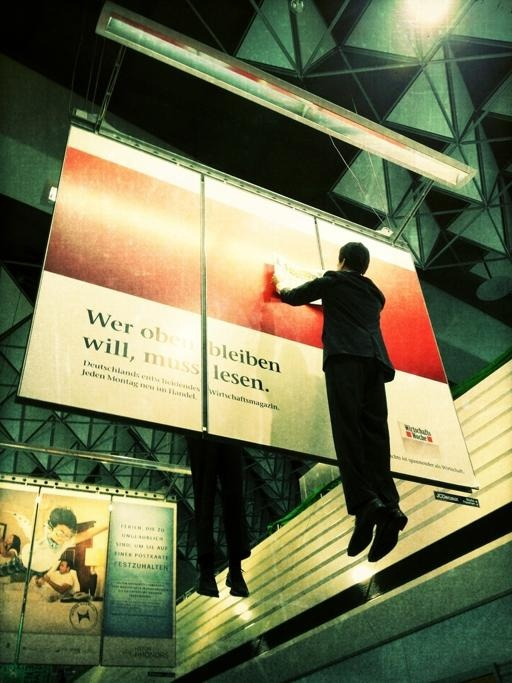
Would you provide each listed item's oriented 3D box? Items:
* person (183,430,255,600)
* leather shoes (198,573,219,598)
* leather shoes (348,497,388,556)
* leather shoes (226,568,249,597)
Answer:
[{"bbox_3d":[-0.262,1.181,4.525,0.421,1.048,0.309,4,-21,-16],"label":"person"},{"bbox_3d":[-0.319,1.583,4.317,0.124,0.143,0.286,-1,-18,-3],"label":"leather shoes"},{"bbox_3d":[0.627,1.098,3.999,0.144,0.414,0.169,21,14,-16],"label":"leather shoes"},{"bbox_3d":[-0.128,1.636,4.540,0.112,0.152,0.252,5,-14,-17],"label":"leather shoes"}]
